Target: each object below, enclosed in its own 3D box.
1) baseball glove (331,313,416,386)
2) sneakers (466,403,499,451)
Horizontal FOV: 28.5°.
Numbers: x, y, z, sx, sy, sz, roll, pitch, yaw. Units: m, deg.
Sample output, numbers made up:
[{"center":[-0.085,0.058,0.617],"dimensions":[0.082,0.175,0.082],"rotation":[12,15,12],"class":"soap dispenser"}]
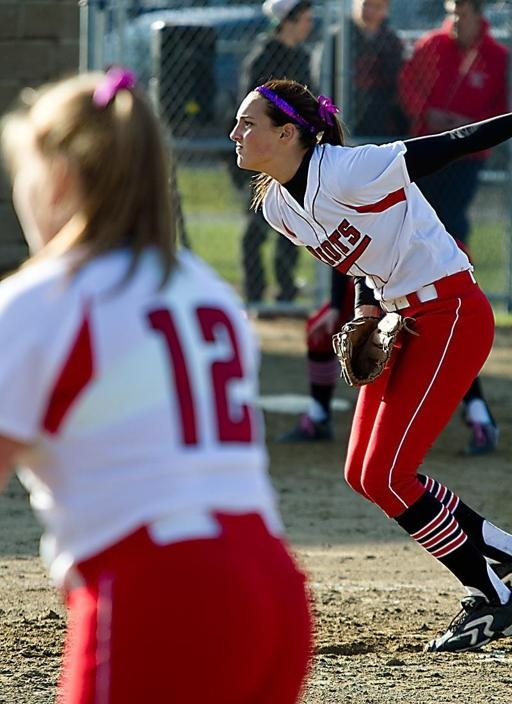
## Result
[{"center":[0.314,-0.011,2.700],"dimensions":[0.182,0.210,0.099],"rotation":[25,-10,35],"class":"baseball glove"},{"center":[1.107,0.381,4.957],"dimensions":[0.127,0.141,0.322],"rotation":[-15,35,24],"class":"sneakers"}]
